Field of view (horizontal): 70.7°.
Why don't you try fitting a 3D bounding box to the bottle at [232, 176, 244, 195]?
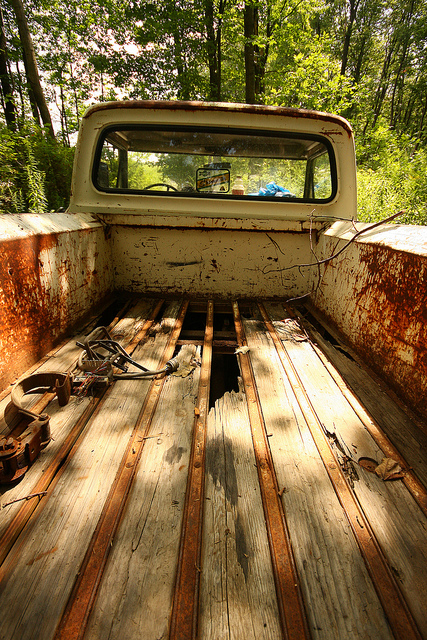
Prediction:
[{"bbox_3d":[0.225,-1.166,2.623,0.118,0.213,0.116,1,6,0],"label":"bottle"}]
